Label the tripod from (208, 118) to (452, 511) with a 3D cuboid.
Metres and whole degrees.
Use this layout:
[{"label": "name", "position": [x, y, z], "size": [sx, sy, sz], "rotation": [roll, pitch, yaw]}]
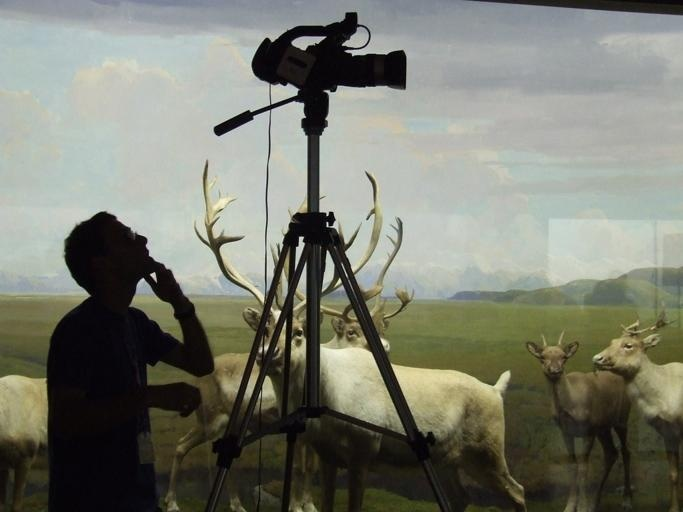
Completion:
[{"label": "tripod", "position": [-0.074, 0.293, 4.704], "size": [1.040, 1.896, 0.478], "rotation": [-1, -1, 5]}]
